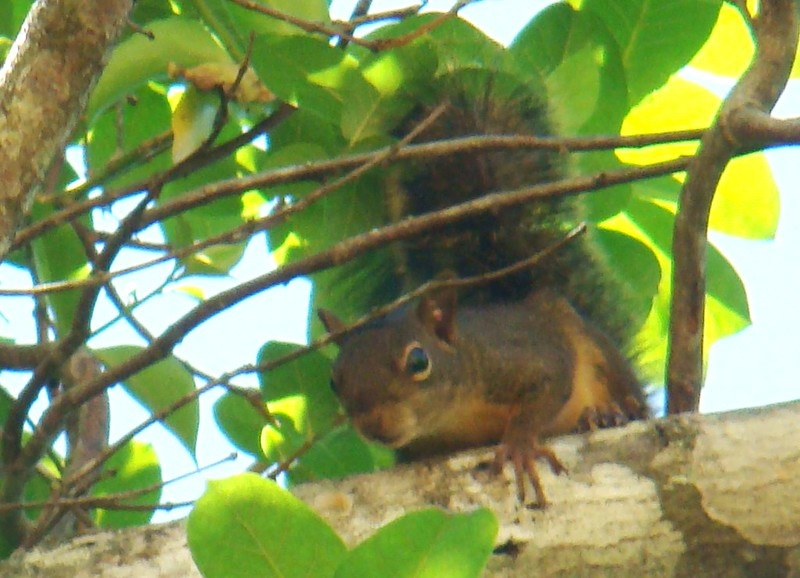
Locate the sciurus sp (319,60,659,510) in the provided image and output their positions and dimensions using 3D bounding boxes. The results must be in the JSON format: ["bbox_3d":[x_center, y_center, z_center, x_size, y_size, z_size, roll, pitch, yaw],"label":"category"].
[{"bbox_3d":[0.202,-0.051,3.754,0.776,0.860,0.340,-25,14,-30],"label":"sciurus sp"}]
